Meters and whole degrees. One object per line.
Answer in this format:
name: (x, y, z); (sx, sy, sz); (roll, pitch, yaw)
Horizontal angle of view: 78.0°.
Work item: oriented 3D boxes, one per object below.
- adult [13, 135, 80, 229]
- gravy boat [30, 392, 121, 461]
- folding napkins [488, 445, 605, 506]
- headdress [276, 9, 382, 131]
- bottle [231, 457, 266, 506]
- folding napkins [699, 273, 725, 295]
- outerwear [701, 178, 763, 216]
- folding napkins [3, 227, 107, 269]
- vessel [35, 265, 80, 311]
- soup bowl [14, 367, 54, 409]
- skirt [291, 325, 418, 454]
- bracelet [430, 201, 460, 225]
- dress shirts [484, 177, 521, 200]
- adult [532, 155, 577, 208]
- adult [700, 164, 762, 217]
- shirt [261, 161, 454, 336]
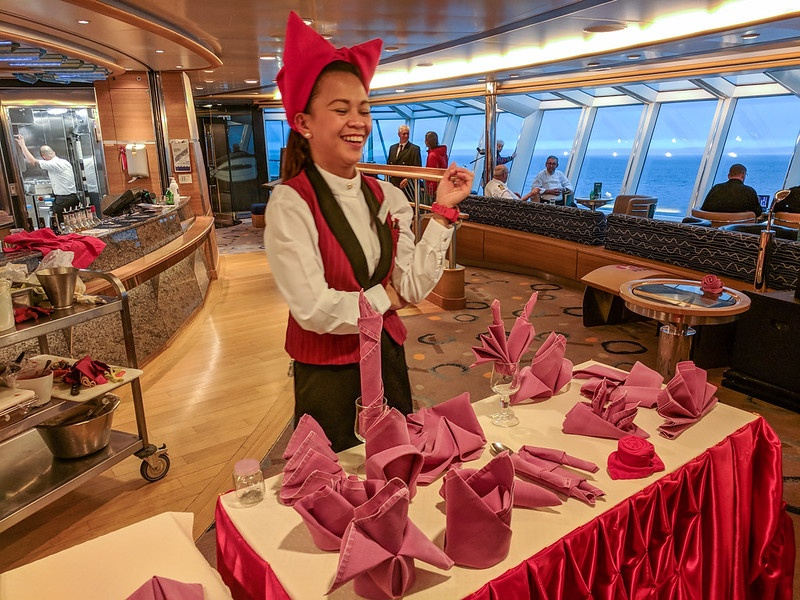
adult: (-6.143, -1.893, 8.855); (0.703, 1.971, 0.662); (11, 26, 2)
gravy boat: (-1.750, 0.701, 2.643); (0.370, 0.210, 0.337); (-7, 16, -31)
folding napkins: (0.396, 0.471, 1.376); (0.297, 0.047, 0.173); (11, 17, 36)
headdress: (-0.249, -0.690, 1.576); (0.361, 0.262, 0.326); (2, 54, -22)
bottle: (-0.397, 0.462, 1.298); (0.078, 0.121, 0.116); (-5, 21, -17)
folding napkins: (2.218, -0.107, 3.514); (0.149, 0.131, 0.076); (18, 13, 36)
outerwear: (4.572, -1.409, 6.763); (0.709, 0.451, 0.427); (12, 23, 28)
folding napkins: (-2.058, -0.340, 2.979); (0.451, 0.183, 0.415); (10, 17, 15)
vessel: (-1.609, -0.063, 2.392); (0.225, 0.199, 0.193); (-2, 15, -17)
soup bowl: (-1.658, 0.394, 2.244); (0.157, 0.119, 0.174); (-4, 15, -37)
skirt: (-0.147, 0.262, 1.422); (0.386, 0.437, 0.254); (3, 25, 7)
bracelet: (0.153, -0.290, 1.647); (0.095, 0.059, 0.098); (22, -4, -35)
dress shirts: (1.601, -1.767, 7.884); (0.487, 0.270, 1.069); (4, 19, 8)
adult: (2.920, -2.201, 9.094); (0.777, 0.848, 0.777); (-15, 26, -38)
adult: (4.676, -1.521, 6.909); (0.571, 0.722, 0.892); (-4, 8, -24)
shirt: (-0.128, -0.195, 1.674); (0.688, 0.522, 0.387); (-6, 16, -27)
